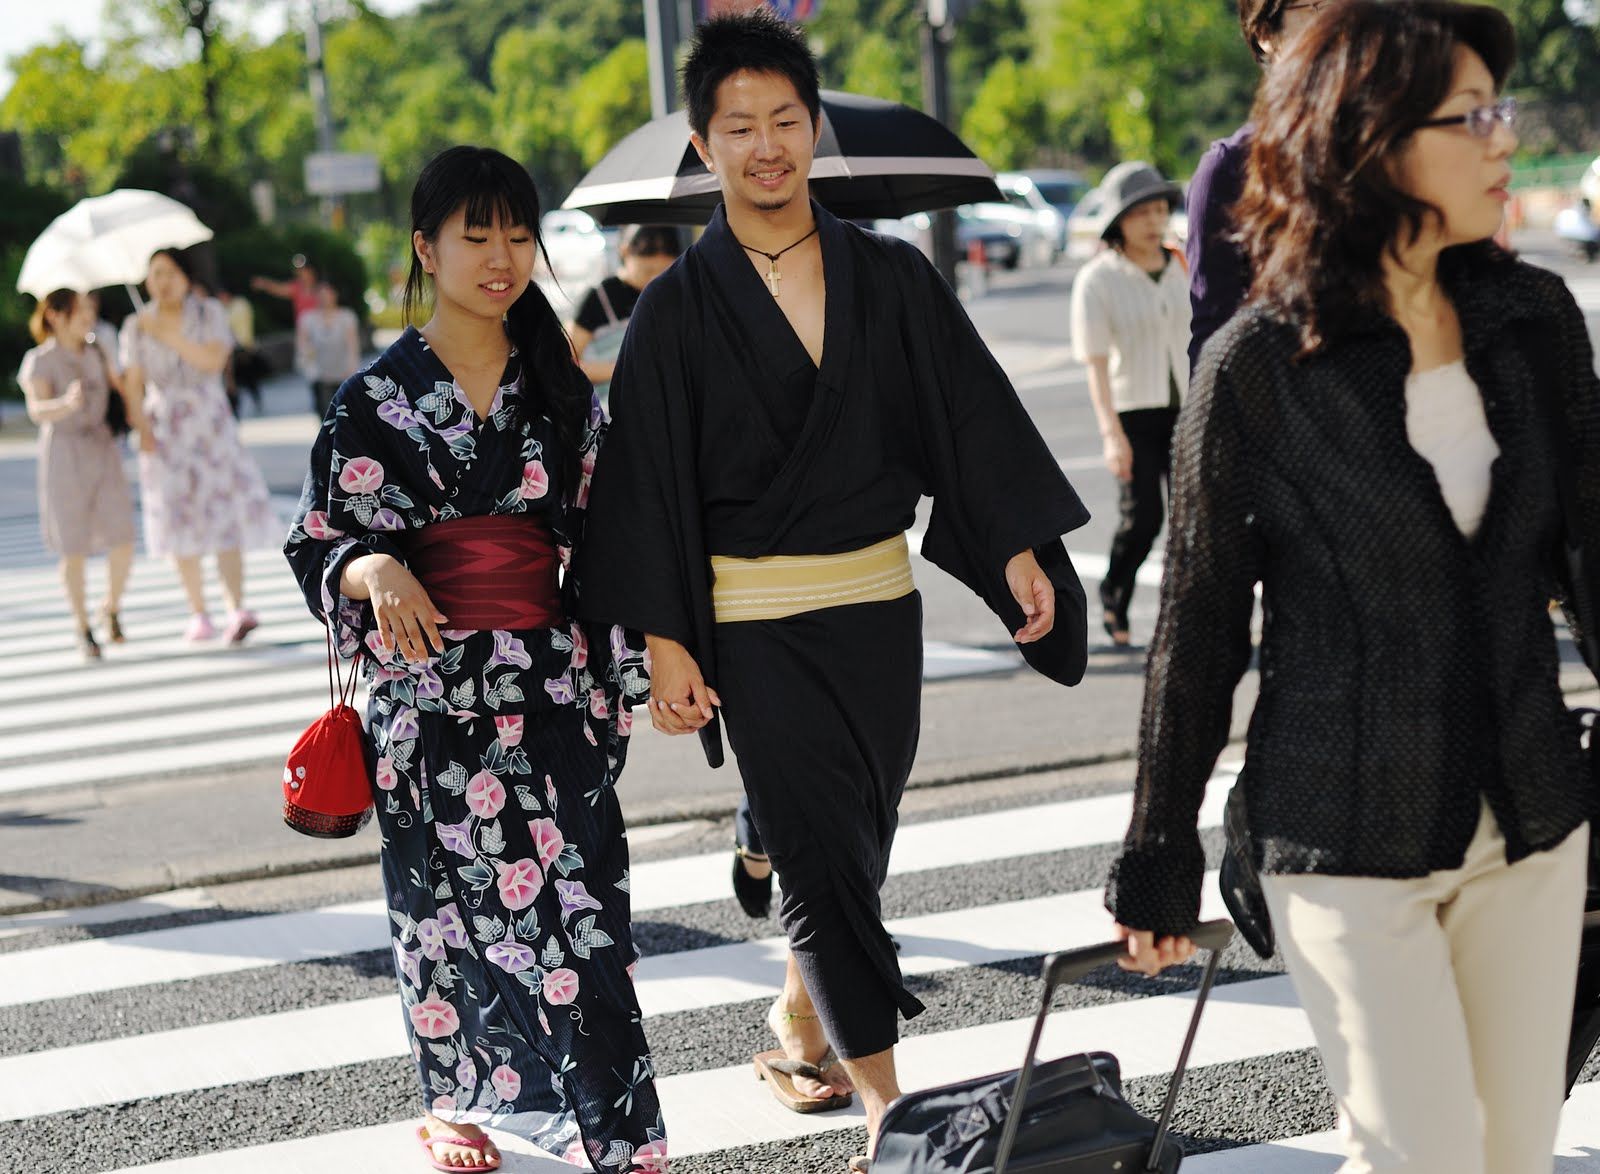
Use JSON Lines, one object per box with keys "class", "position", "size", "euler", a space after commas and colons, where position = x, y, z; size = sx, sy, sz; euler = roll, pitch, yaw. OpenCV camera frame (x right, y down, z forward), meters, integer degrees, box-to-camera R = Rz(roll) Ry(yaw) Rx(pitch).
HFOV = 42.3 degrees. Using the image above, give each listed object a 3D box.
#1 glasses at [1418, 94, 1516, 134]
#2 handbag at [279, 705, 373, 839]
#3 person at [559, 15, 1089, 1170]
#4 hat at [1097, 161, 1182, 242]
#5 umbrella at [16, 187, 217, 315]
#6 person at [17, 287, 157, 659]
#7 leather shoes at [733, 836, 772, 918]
{"class": "glasses", "position": [1.153, -0.795, 3.507], "size": [0.092, 0.029, 0.091], "euler": [-5, 5, -12]}
{"class": "handbag", "position": [-1.061, 0.412, 4.656], "size": [0.199, 0.249, 0.172], "euler": [14, 6, -9]}
{"class": "person", "position": [0.064, -0.046, 4.464], "size": [1.070, 2.338, 0.530], "euler": [-5, 12, -6]}
{"class": "hat", "position": [1.368, -1.625, 8.479], "size": [0.371, 0.192, 0.363], "euler": [-24, 5, 12]}
{"class": "umbrella", "position": [-3.075, -1.506, 9.208], "size": [0.636, 0.228, 0.644], "euler": [-25, 4, 45]}
{"class": "person", "position": [-3.505, -0.533, 10.047], "size": [0.411, 1.841, 0.694], "euler": [-8, 13, -18]}
{"class": "leather shoes", "position": [-0.120, 0.771, 5.381], "size": [0.089, 0.222, 0.065], "euler": [-14, 23, -9]}
